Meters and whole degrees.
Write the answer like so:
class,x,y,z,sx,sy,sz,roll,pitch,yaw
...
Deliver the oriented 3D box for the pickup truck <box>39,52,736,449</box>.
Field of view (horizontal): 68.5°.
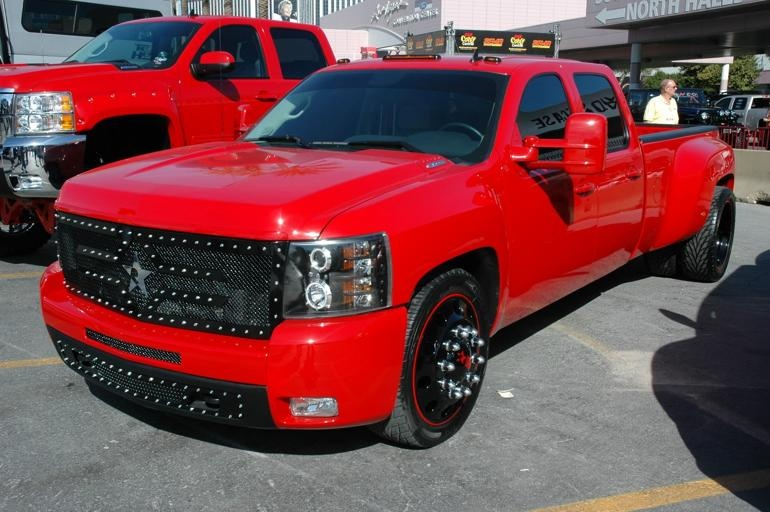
class,x,y,z,sx,sy,sz,roll,pitch,yaw
pickup truck,0.799,-0.386,4.942,2.934,1.482,5.655,6,9,42
